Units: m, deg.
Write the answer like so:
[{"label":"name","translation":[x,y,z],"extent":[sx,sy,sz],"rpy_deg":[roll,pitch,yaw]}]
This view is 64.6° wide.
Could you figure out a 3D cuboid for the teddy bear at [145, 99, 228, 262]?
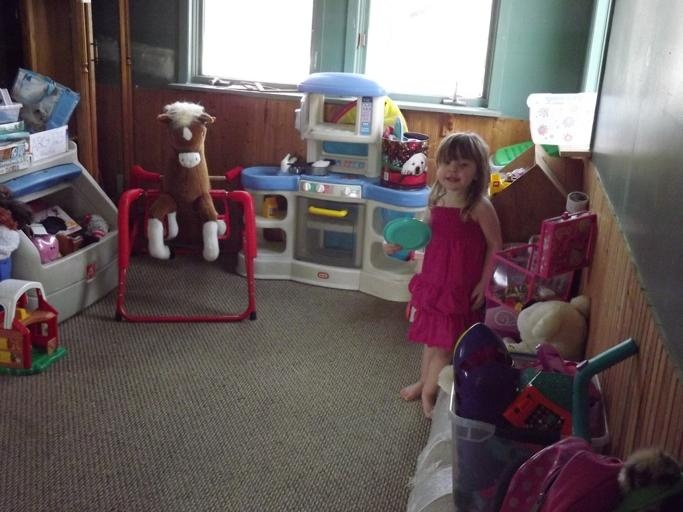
[{"label":"teddy bear","translation":[-0.655,-0.401,2.762],"extent":[0.316,0.697,0.862],"rpy_deg":[0,-12,-7]}]

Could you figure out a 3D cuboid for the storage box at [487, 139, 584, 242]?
[{"label":"storage box","translation":[0.857,-0.280,2.403],"extent":[0.317,0.292,0.479],"rpy_deg":[0,21,14]}]
